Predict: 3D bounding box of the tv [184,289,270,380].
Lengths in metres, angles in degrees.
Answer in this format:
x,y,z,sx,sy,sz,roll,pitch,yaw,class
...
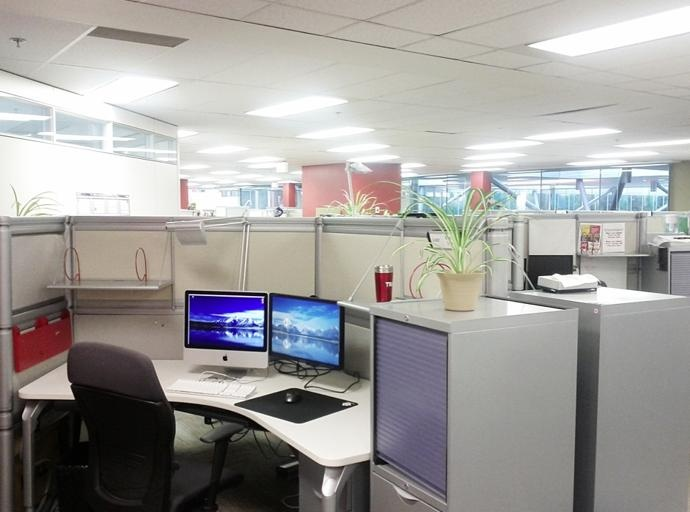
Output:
x,y,z,sx,sy,sz,roll,pitch,yaw,class
-0.708,0.465,3.067,0.540,0.430,0.184,0,-5,6,tv

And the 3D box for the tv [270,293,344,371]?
x,y,z,sx,sy,sz,roll,pitch,yaw,class
-0.225,0.437,2.959,0.476,0.368,0.167,5,4,25,tv

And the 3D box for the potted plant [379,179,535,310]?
x,y,z,sx,sy,sz,roll,pitch,yaw,class
0.439,-0.018,2.347,0.601,0.472,0.598,-1,1,-44,potted plant

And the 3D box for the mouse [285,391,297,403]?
x,y,z,sx,sy,sz,roll,pitch,yaw,class
-0.287,0.738,2.685,0.044,0.023,0.067,1,-2,-1,mouse
